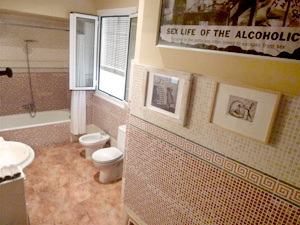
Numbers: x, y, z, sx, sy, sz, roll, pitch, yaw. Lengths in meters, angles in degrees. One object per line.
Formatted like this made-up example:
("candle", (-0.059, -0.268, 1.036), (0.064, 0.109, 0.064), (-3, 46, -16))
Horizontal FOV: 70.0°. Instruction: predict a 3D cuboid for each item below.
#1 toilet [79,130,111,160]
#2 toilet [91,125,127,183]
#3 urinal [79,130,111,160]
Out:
("toilet", (-1.017, 0.600, 4.061), (0.571, 0.505, 0.365), (-12, 27, -34))
("toilet", (-0.646, 0.684, 3.442), (0.588, 0.832, 0.447), (-12, 31, -31))
("urinal", (-0.991, 0.633, 4.009), (0.571, 0.505, 0.365), (-12, 27, -34))
